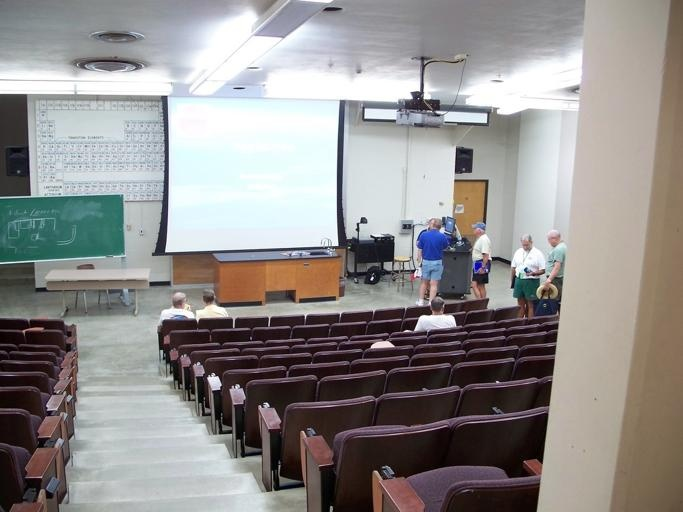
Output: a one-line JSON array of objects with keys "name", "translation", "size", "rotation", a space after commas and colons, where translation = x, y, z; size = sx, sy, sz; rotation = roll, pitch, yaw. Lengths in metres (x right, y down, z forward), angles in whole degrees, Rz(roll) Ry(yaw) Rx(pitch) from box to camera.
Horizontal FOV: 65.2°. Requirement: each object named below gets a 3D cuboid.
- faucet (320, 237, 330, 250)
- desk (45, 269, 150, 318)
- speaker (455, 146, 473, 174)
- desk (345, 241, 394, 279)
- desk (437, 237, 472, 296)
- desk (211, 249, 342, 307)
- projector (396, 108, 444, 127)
[{"name": "faucet", "translation": [-0.355, -0.272, 11.872], "size": [0.230, 0.277, 0.282], "rotation": [1, 2, 23]}, {"name": "desk", "translation": [-4.632, 0.652, 10.269], "size": [1.681, 0.822, 1.810], "rotation": [0, 3, -22]}, {"name": "speaker", "translation": [3.258, -2.545, 14.180], "size": [0.680, 0.647, 0.179], "rotation": [-1, 3, -30]}, {"name": "desk", "translation": [0.691, -0.145, 13.261], "size": [1.165, 1.170, 0.890], "rotation": [-2, 13, -12]}, {"name": "desk", "translation": [2.481, 0.331, 11.760], "size": [0.755, 0.941, 1.289], "rotation": [3, 6, 9]}, {"name": "desk", "translation": [-1.330, 0.398, 11.078], "size": [2.503, 0.956, 0.846], "rotation": [-3, 15, -18]}, {"name": "projector", "translation": [1.168, -2.053, 7.971], "size": [0.726, 0.197, 0.352], "rotation": [0, 3, -12]}]
